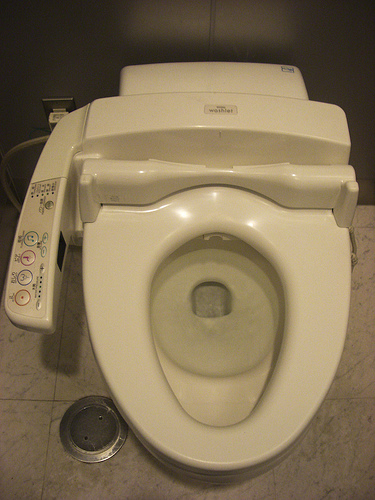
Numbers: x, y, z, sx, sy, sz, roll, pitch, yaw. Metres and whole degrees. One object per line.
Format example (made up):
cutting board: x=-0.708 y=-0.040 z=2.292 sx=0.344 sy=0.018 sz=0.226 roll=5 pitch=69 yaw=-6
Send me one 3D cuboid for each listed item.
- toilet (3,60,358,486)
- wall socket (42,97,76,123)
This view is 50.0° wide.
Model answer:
toilet: x=0.023 y=-0.112 z=0.760 sx=0.560 sy=0.328 sz=0.820 roll=0 pitch=79 yaw=2
wall socket: x=-0.251 y=-0.279 z=0.785 sx=0.049 sy=0.054 sz=0.030 roll=2 pitch=57 yaw=-5
